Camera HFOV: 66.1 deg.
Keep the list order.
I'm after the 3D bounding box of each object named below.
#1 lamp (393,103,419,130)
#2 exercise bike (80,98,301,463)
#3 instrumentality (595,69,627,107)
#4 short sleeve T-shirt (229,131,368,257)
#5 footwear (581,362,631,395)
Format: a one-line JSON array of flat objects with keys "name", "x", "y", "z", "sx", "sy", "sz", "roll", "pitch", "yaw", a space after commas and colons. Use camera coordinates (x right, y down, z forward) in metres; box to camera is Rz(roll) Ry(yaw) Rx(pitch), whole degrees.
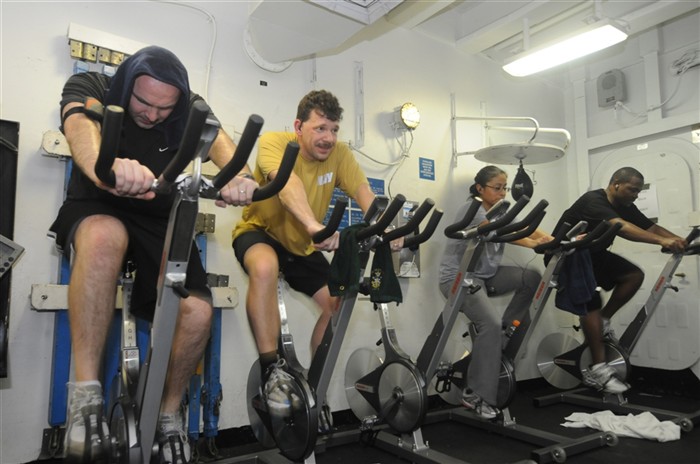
[{"name": "lamp", "x": 0.534, "y": -1.106, "z": 5.062, "sx": 0.249, "sy": 0.251, "sz": 0.123, "roll": 2, "pitch": 0, "yaw": -34}, {"name": "exercise bike", "x": -0.860, "y": 0.308, "z": 2.653, "sx": 0.910, "sy": 1.906, "sz": 0.722, "roll": 2, "pitch": 0, "yaw": 39}, {"name": "instrumentality", "x": 2.908, "y": -1.610, "z": 5.974, "sx": 0.151, "sy": 0.470, "sz": 0.339, "roll": 18, "pitch": -28, "yaw": -30}, {"name": "short sleeve T-shirt", "x": -0.380, "y": -0.300, "z": 3.999, "sx": 0.881, "sy": 0.997, "sz": 0.907, "roll": 8, "pitch": 8, "yaw": -45}, {"name": "footwear", "x": 2.244, "y": 1.298, "z": 4.846, "sx": 0.202, "sy": 0.219, "sz": 0.442, "roll": -19, "pitch": 11, "yaw": -34}]
